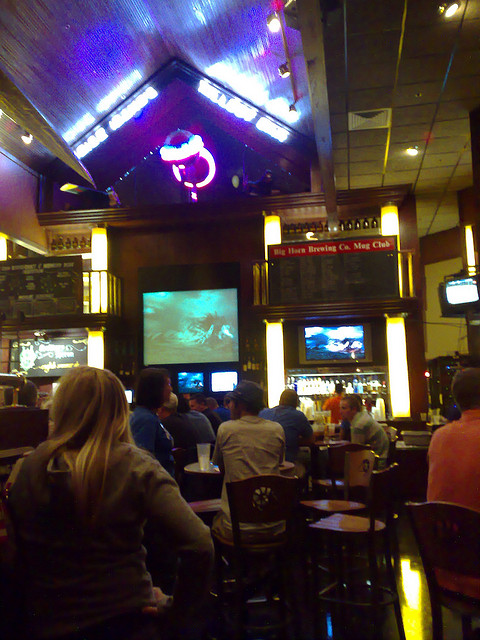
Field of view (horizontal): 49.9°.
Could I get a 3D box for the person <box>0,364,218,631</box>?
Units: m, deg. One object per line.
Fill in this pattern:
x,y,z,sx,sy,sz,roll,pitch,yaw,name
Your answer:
-0.283,0.512,1.440,0.503,0.884,0.566,-5,-22,1,person

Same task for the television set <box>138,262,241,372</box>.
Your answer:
-0.873,-0.004,8.949,1.732,1.967,0.135,-2,-34,-7,television set

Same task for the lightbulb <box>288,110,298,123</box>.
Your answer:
0.970,-3.729,9.459,0.152,0.161,0.203,11,-3,-33,lightbulb

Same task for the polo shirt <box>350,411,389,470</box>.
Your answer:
1.012,0.891,4.171,0.299,0.578,0.491,-4,-5,10,polo shirt

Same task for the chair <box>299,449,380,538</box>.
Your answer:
0.609,1.153,3.297,0.392,0.597,0.381,6,-10,-19,chair

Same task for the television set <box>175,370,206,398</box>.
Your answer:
-0.777,1.037,8.251,0.538,0.431,0.076,-1,-8,6,television set

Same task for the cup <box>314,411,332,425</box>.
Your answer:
1.035,1.228,6.426,0.194,0.199,0.107,5,-9,-40,cup

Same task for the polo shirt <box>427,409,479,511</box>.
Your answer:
0.883,0.574,2.073,0.146,0.240,0.298,10,-3,-22,polo shirt
